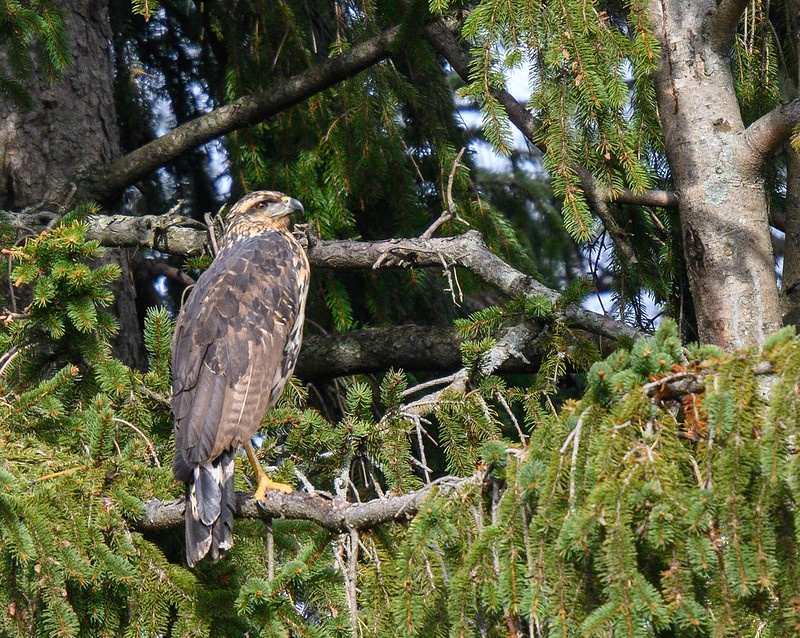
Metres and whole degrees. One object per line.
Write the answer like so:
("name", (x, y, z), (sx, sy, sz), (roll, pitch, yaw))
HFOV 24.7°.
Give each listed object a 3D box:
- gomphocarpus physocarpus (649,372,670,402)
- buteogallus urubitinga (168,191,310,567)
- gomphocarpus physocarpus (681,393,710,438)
("gomphocarpus physocarpus", (1.252, 0.296, 8.793), (0.080, 0.132, 0.059), (10, 1, 10))
("buteogallus urubitinga", (-0.885, 0.351, 10.154), (0.836, 2.304, 0.653), (23, -45, -37))
("gomphocarpus physocarpus", (1.425, 0.440, 8.804), (0.118, 0.221, 0.071), (-9, -14, 26))
